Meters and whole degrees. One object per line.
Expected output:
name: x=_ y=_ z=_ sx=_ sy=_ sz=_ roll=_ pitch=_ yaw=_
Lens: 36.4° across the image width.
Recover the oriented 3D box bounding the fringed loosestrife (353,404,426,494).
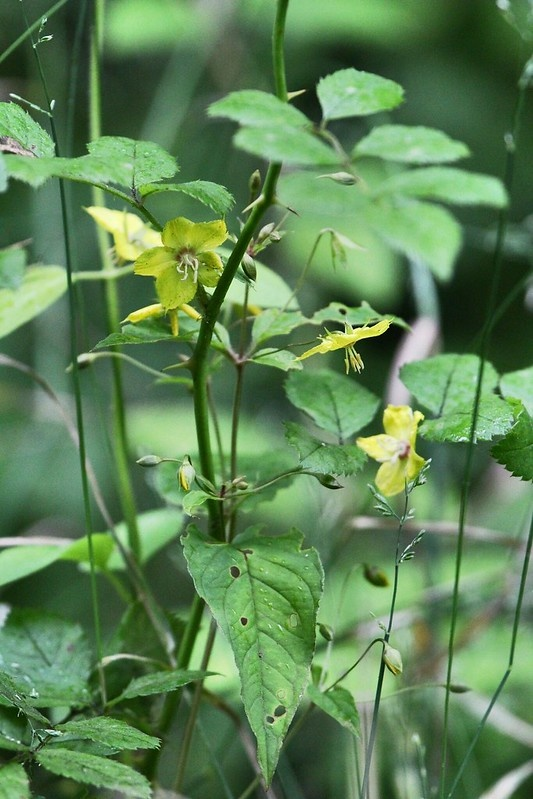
fringed loosestrife: x=0.130 y=0.057 z=0.854 sx=0.068 sy=0.066 sz=0.129 roll=-4 pitch=-3 yaw=7
